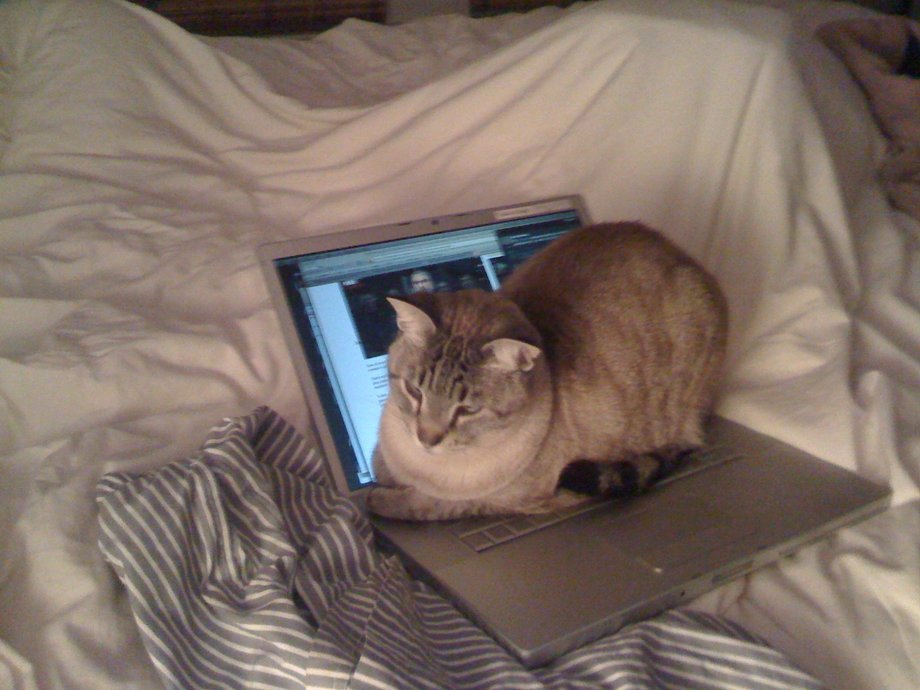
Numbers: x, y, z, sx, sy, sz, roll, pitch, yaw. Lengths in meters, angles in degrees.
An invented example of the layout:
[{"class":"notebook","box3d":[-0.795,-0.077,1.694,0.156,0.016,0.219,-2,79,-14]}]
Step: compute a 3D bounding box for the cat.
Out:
[{"class":"cat","box3d":[0.299,0.053,1.979,0.889,0.415,0.586,-36,66,-18]}]
